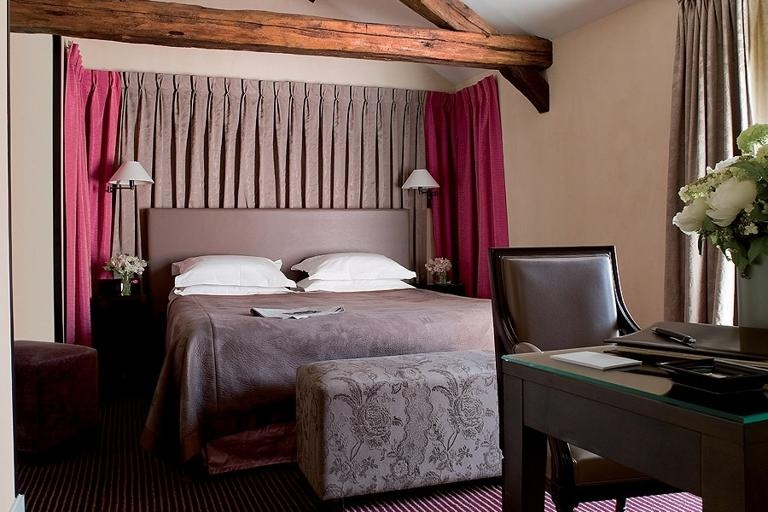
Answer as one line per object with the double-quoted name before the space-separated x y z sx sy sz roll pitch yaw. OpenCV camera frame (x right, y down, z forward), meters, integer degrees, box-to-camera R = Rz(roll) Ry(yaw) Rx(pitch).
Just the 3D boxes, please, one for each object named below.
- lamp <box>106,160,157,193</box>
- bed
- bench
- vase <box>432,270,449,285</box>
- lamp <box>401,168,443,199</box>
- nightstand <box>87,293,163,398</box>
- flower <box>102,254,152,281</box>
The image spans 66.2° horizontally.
"lamp" -2.166 -0.677 4.983 0.307 0.181 0.298 -2 0 7
"bed" -0.429 0.188 4.525 2.378 1.077 2.699 -11 11 -8
"bench" -0.028 0.817 3.356 1.246 0.609 0.593 -1 2 -14
"vase" 0.568 0.214 5.865 0.136 0.149 0.146 -3 -5 42
"lamp" 0.389 -0.742 5.896 0.424 0.303 0.368 -3 5 -8
"nightstand" -2.112 0.667 4.806 0.584 0.837 0.577 -4 3 -12
"flower" -2.153 0.088 4.881 0.285 0.203 0.279 2 -6 -10
